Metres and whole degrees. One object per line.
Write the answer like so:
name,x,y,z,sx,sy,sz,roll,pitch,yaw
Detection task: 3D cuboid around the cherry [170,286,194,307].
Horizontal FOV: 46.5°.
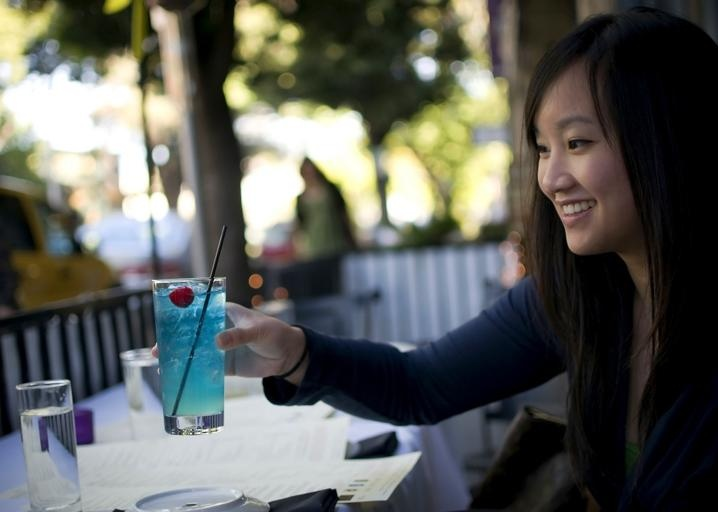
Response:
cherry,-0.540,0.121,2.537,0.057,0.065,0.060,1,1,3
